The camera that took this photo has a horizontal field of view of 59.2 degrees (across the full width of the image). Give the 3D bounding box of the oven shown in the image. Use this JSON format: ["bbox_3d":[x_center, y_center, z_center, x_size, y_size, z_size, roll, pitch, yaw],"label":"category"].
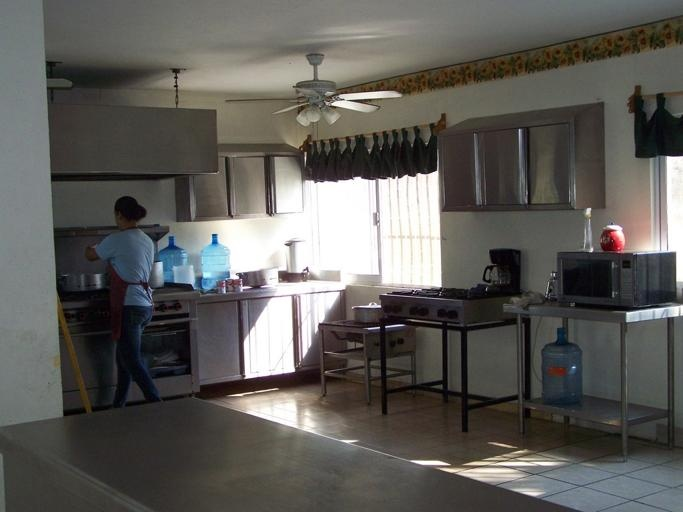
[{"bbox_3d":[-2.032,0.869,5.601,1.290,0.857,0.693,-4,2,-29],"label":"oven"}]

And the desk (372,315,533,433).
[{"bbox_3d":[0.940,0.998,5.477,0.946,1.134,1.221,-3,4,-41],"label":"desk"}]

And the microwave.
[{"bbox_3d":[2.014,0.156,4.382,0.459,0.388,0.626,1,0,-33],"label":"microwave"}]

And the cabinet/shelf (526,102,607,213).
[{"bbox_3d":[1.906,-0.805,4.782,0.409,0.852,0.140,-3,2,-28],"label":"cabinet/shelf"}]

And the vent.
[{"bbox_3d":[-1.790,-1.032,5.310,1.386,0.585,0.066,-3,2,-26],"label":"vent"}]

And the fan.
[{"bbox_3d":[0.009,-1.577,5.418,0.976,0.382,0.903,-3,-7,15],"label":"fan"}]

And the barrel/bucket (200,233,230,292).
[{"bbox_3d":[-1.405,0.049,6.788,0.379,0.612,0.225,-3,2,-25],"label":"barrel/bucket"}]

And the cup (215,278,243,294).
[{"bbox_3d":[-1.188,0.318,6.357,0.158,0.091,0.203,-2,-1,26],"label":"cup"}]

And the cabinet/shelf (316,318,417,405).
[{"bbox_3d":[0.228,0.887,6.270,0.802,1.004,1.025,-4,4,-40],"label":"cabinet/shelf"}]

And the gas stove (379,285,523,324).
[{"bbox_3d":[0.859,0.458,5.215,1.079,0.248,0.473,-1,3,26],"label":"gas stove"}]

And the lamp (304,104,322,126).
[{"bbox_3d":[-0.251,-1.243,5.236,0.138,0.127,0.168,-2,2,0],"label":"lamp"}]

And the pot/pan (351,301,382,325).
[{"bbox_3d":[0.243,0.567,6.004,0.210,0.125,0.205,1,-2,-19],"label":"pot/pan"}]
